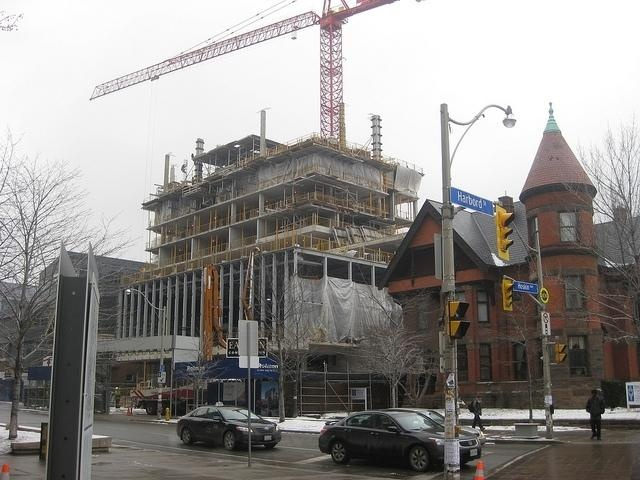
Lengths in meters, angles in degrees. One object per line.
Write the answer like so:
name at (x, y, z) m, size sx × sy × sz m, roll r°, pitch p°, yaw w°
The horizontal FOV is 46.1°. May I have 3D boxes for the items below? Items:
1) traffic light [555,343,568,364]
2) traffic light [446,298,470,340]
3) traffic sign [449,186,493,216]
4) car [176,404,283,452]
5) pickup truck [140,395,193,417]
traffic light at (10.754, 4.995, 33.413) m, size 0.465 × 0.963 × 2.378 m, roll -5°, pitch -17°, yaw 16°
traffic light at (4.231, 2.358, 22.791) m, size 0.696 × 1.179 × 0.595 m, roll 8°, pitch -17°, yaw -28°
traffic sign at (4.874, -1.198, 24.655) m, size 0.041 × 0.629 × 2.578 m, roll 3°, pitch -11°, yaw 41°
car at (-3.772, 7.651, 30.819) m, size 4.178 × 1.773 × 1.509 m, roll -13°, pitch -20°, yaw 36°
pickup truck at (-11.878, 11.550, 53.323) m, size 5.761 × 1.480 × 1.629 m, roll -3°, pitch -15°, yaw 30°
